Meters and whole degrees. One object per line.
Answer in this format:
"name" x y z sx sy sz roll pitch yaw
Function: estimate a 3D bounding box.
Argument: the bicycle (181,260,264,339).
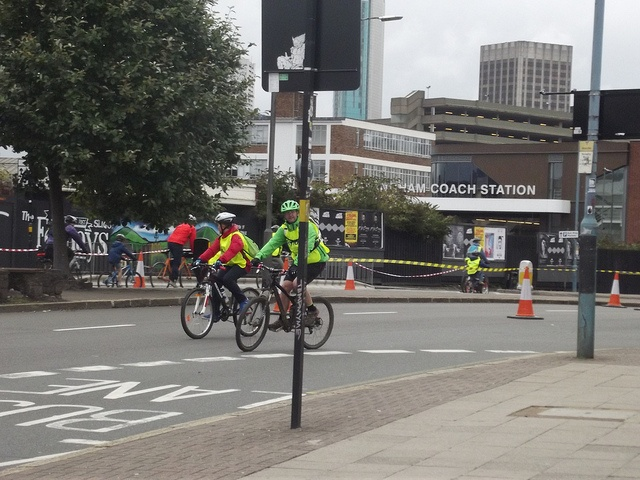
"bicycle" -1.804 1.133 17.836 0.889 1.094 1.802 -4 -5 34

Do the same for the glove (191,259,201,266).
"glove" -2.120 0.405 17.405 0.137 0.067 0.190 -2 -3 -4

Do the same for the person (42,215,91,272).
"person" -6.761 -0.001 27.268 1.215 1.790 0.928 9 -1 24

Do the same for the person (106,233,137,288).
"person" -5.450 0.568 27.401 0.709 1.356 1.040 0 1 -12

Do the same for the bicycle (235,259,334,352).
"bicycle" -0.616 1.117 16.640 1.277 1.451 1.494 0 1 12

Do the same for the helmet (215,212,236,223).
"helmet" -1.607 -0.323 17.407 0.333 0.203 0.251 -13 11 -17

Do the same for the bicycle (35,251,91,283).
"bicycle" -7.238 0.749 28.959 1.044 1.224 1.993 0 1 25

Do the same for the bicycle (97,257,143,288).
"bicycle" -5.413 0.932 27.770 1.468 0.913 0.717 -2 6 -7

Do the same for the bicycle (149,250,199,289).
"bicycle" -4.393 0.811 29.211 1.196 1.389 2.269 3 -5 -27

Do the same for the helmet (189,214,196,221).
"helmet" -3.281 -0.571 25.837 0.146 0.145 0.145 7 -9 -44
